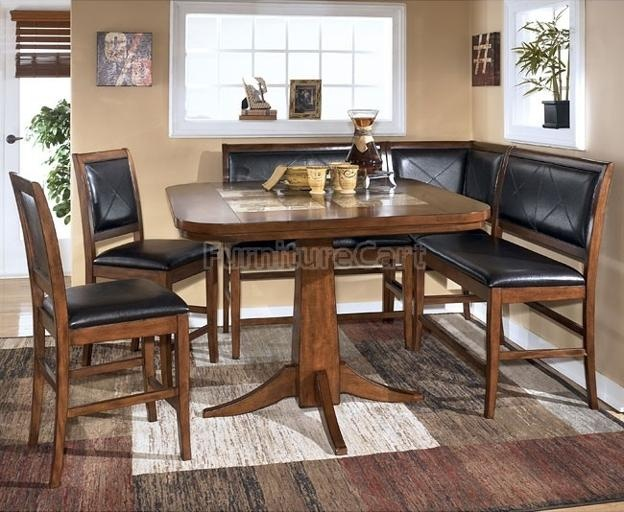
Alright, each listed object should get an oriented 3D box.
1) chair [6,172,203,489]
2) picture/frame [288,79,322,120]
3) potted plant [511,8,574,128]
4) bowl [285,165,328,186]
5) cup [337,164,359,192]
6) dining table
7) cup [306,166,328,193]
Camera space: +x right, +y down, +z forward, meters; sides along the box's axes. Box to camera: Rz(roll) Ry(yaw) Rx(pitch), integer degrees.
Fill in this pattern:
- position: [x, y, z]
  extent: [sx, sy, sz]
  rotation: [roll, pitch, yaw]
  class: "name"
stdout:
- position: [-0.797, 0.252, 2.026]
  extent: [0.577, 0.936, 0.465]
  rotation: [2, 6, -37]
  class: "chair"
- position: [-0.048, -1.076, 3.565]
  extent: [0.302, 0.330, 0.036]
  rotation: [1, 8, -7]
  class: "picture/frame"
- position: [1.331, -1.095, 3.035]
  extent: [0.320, 0.718, 0.697]
  rotation: [5, 13, 19]
  class: "potted plant"
- position: [-0.029, -0.380, 2.392]
  extent: [0.134, 0.054, 0.139]
  rotation: [1, 4, 0]
  class: "bowl"
- position: [0.159, -0.347, 2.329]
  extent: [0.111, 0.115, 0.123]
  rotation: [7, 14, 16]
  class: "cup"
- position: [0.010, 0.099, 2.443]
  extent: [1.266, 0.884, 1.202]
  rotation: [-2, 9, -14]
  class: "dining table"
- position: [0.014, -0.341, 2.364]
  extent: [0.136, 0.139, 0.118]
  rotation: [0, 3, -6]
  class: "cup"
